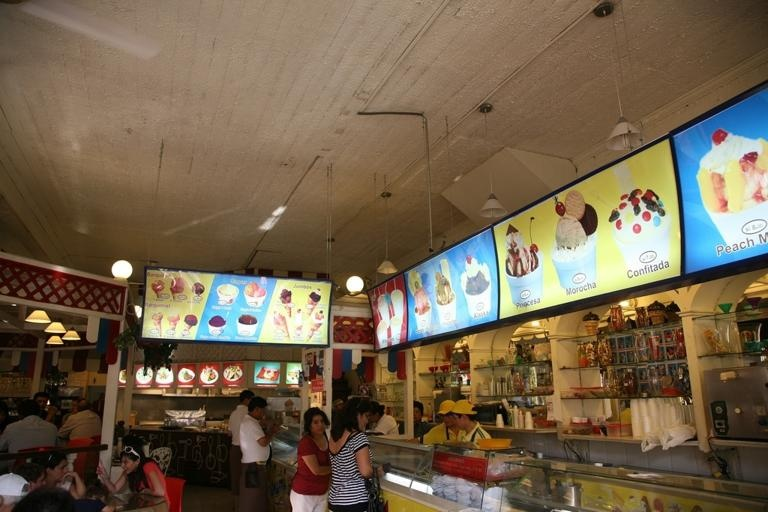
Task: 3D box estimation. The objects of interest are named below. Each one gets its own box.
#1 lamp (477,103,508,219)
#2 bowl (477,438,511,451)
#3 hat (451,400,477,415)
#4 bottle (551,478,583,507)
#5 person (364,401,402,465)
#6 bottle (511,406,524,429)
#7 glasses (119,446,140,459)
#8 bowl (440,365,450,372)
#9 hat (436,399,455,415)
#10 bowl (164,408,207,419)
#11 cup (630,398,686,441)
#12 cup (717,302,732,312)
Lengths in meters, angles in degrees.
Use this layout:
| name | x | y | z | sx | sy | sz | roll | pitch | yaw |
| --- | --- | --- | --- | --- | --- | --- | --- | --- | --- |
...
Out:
| name | x | y | z | sx | sy | sz | roll | pitch | yaw |
| --- | --- | --- | --- | --- | --- | --- | --- | --- | --- |
| lamp | 1.390 | -1.008 | 6.689 | 0.292 | 1.268 | 1.702 | -5 | -18 | 13 |
| bowl | 1.159 | 2.005 | 5.355 | 0.271 | 0.070 | 0.271 | 0 | -16 | 0 |
| hat | 0.942 | 1.831 | 6.212 | 0.194 | 0.133 | 0.270 | 4 | -6 | -26 |
| bottle | 1.433 | 1.859 | 3.976 | 0.218 | 0.217 | 0.137 | -2 | -8 | 17 |
| person | -0.045 | 2.940 | 8.157 | 0.610 | 1.040 | 0.486 | -4 | -21 | -22 |
| bottle | 1.995 | 2.414 | 7.539 | 0.212 | 0.368 | 0.273 | -3 | -8 | 11 |
| glasses | -2.570 | 2.001 | 5.120 | 0.142 | 0.051 | 0.147 | 7 | -36 | 13 |
| bowl | 1.203 | 2.227 | 9.936 | 0.121 | 0.093 | 0.126 | -1 | -13 | 0 |
| hat | 0.782 | 1.884 | 6.245 | 0.248 | 0.134 | 0.174 | 15 | -24 | -38 |
| bowl | -4.816 | 3.864 | 12.319 | 0.912 | 0.185 | 0.914 | 2 | -10 | 0 |
| cup | 3.355 | 2.008 | 6.217 | 0.436 | 0.484 | 0.559 | 8 | -15 | -29 |
| cup | 3.971 | 0.611 | 5.871 | 0.132 | 0.112 | 0.196 | -15 | -22 | 37 |
